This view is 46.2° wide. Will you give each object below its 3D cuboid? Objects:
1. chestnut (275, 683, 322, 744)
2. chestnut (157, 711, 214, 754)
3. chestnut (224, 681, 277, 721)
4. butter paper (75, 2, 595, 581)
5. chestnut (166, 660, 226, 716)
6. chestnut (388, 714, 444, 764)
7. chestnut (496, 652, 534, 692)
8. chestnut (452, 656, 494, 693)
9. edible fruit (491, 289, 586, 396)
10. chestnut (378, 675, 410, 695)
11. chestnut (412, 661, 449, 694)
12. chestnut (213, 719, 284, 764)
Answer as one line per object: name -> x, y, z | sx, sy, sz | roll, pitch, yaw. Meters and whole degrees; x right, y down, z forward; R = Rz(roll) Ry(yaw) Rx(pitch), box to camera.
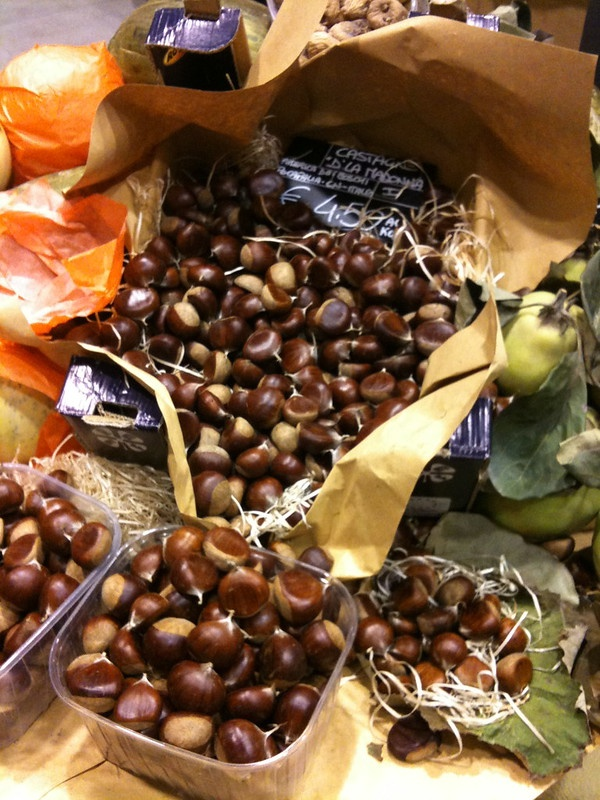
chestnut -> -0.003, 0.320, 0.736 | 0.034, 0.043, 0.056 | 21, 63, 33
chestnut -> -0.109, 0.325, 0.690 | 0.044, 0.042, 0.022 | -2, 65, 16
chestnut -> -0.049, 0.318, 0.731 | 0.052, 0.033, 0.029 | -1, 34, -11
butter paper -> 0.016, -0.215, 1.269 | 0.777, 0.913, 0.356 | 51, 11, 14
chestnut -> -0.109, 0.297, 0.722 | 0.055, 0.048, 0.046 | 30, 40, 32
chestnut -> 0.127, 0.392, 0.809 | 0.049, 0.034, 0.049 | -19, 40, -34
chestnut -> 0.257, 0.329, 0.846 | 0.024, 0.037, 0.043 | 1, 9, 44
chestnut -> 0.207, 0.327, 0.840 | 0.037, 0.018, 0.034 | 5, 38, -14
edible fruit -> 0.343, -0.086, 1.030 | 0.130, 0.126, 0.120 | -8, 9, 2
chestnut -> 0.107, 0.334, 0.823 | 0.026, 0.014, 0.027 | -4, 0, 4
chestnut -> 0.157, 0.329, 0.845 | 0.032, 0.017, 0.045 | 1, 32, -8
chestnut -> -0.051, 0.347, 0.701 | 0.066, 0.047, 0.046 | 2, 33, -7
